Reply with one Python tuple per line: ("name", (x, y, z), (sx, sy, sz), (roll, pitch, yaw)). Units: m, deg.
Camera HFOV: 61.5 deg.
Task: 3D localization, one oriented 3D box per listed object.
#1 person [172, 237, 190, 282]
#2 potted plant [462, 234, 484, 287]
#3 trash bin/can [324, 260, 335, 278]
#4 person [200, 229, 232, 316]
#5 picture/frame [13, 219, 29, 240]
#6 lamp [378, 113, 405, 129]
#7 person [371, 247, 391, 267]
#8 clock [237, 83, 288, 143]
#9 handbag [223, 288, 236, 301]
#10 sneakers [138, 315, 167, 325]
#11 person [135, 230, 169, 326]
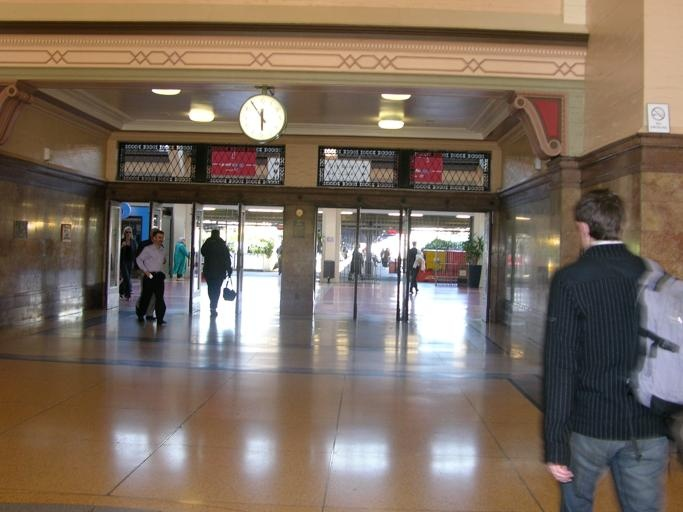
("person", (-5.624, 0.023, 20.209), (0.764, 1.403, 0.822), (3, 12, 1))
("potted plant", (5.167, 0.216, 22.325), (0.724, 1.439, 1.441), (3, -1, 12))
("trash bin/can", (-0.448, 0.528, 21.935), (0.463, 0.657, 0.369), (4, -1, -2))
("person", (-2.674, 0.347, 12.176), (0.655, 1.694, 0.520), (4, -1, -13))
("picture/frame", (-5.725, -0.470, 10.180), (0.045, 0.386, 0.345), (-2, 0, 14))
("lamp", (0.991, -2.608, 11.056), (0.532, 0.191, 0.746), (4, 0, 2))
("person", (2.034, 0.121, 28.815), (0.575, 0.819, 1.348), (3, 7, 6))
("clock", (-1.084, -1.972, 7.878), (0.644, 0.803, 0.166), (-1, 41, -16))
("handbag", (-2.341, 0.809, 12.059), (0.278, 0.257, 0.592), (4, 0, -10))
("sneakers", (-3.623, 1.221, 10.929), (0.490, 0.238, 0.161), (-1, 2, 12))
("person", (-3.552, 0.386, 10.762), (0.559, 1.722, 0.900), (4, -1, -18))
